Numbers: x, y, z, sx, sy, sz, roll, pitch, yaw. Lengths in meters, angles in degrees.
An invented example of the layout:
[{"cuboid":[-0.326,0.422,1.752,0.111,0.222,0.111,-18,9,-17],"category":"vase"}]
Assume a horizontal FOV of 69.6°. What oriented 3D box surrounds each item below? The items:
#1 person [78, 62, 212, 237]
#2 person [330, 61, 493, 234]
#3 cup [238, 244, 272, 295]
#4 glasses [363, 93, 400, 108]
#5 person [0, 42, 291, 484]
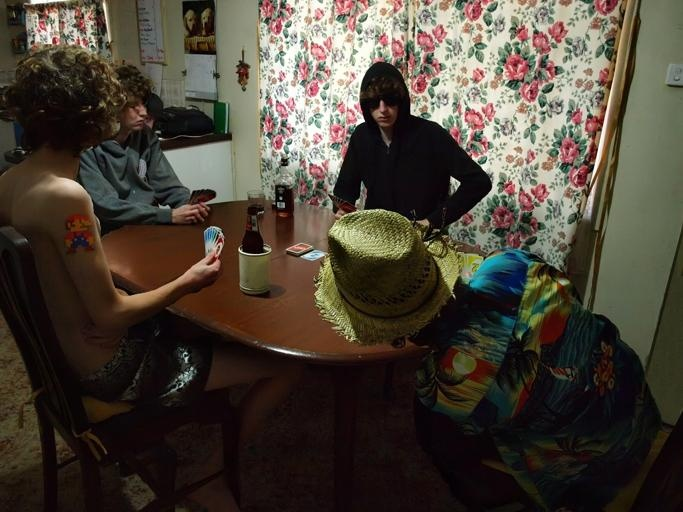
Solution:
[{"cuboid":[-1.065,-0.535,2.594,0.731,0.858,0.525,-3,8,28],"category":"person"},{"cuboid":[0.310,-0.535,2.454,0.819,0.863,0.477,6,20,29],"category":"person"},{"cuboid":[-0.286,0.048,1.705,0.124,0.155,0.135,1,18,0],"category":"cup"},{"cuboid":[0.183,-0.730,2.313,0.080,0.030,0.086,-3,1,26],"category":"glasses"},{"cuboid":[-0.624,0.031,1.517,0.729,1.229,0.379,-2,22,-11],"category":"person"}]
